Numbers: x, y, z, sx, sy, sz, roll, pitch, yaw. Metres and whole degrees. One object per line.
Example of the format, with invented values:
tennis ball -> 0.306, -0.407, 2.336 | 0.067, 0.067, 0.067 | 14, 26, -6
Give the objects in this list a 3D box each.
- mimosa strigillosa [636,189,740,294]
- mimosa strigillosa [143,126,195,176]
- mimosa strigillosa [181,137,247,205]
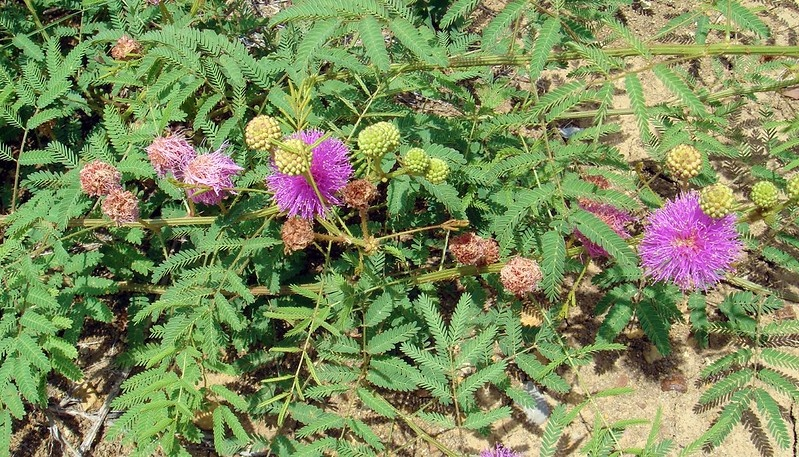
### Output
mimosa strigillosa -> 2.922, 0.137, 6.659 | 0.926, 0.753, 0.734 | 26, 61, 14
mimosa strigillosa -> -2.494, -0.820, 7.420 | 0.493, 0.494, 0.487 | 6, 85, 6
mimosa strigillosa -> -1.995, -0.578, 7.256 | 0.632, 0.643, 0.446 | 6, 11, -26
